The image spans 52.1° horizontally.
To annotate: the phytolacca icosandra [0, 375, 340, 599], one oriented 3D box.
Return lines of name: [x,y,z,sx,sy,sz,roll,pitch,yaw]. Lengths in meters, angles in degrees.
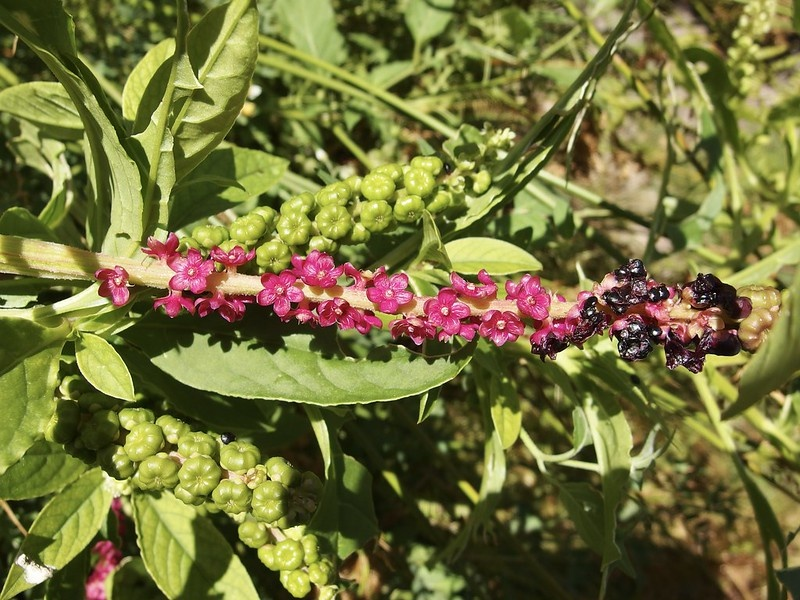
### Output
phytolacca icosandra: [-0.518,0.415,1.843,0.948,0.242,0.257,29,-3,2]
